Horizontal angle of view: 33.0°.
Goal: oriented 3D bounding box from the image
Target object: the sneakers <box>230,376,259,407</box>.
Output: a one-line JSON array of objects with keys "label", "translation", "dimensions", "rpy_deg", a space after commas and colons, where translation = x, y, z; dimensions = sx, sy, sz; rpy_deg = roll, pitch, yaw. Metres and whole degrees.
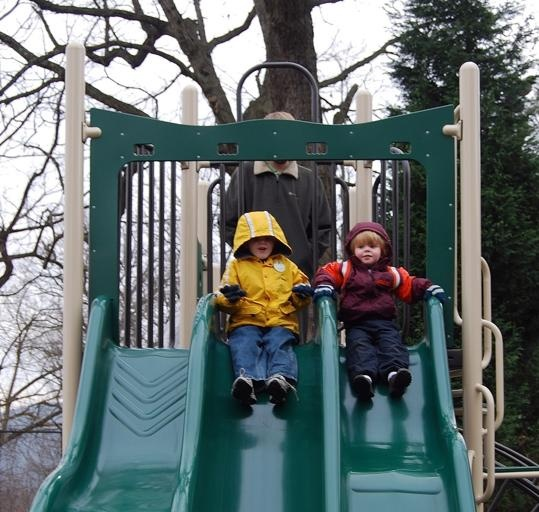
[{"label": "sneakers", "translation": [-0.150, 0.786, 5.264], "dimensions": [0.089, 0.216, 0.131], "rpy_deg": [-13, 28, -2]}]

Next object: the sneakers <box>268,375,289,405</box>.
[{"label": "sneakers", "translation": [0.046, 0.777, 5.345], "dimensions": [0.088, 0.187, 0.077], "rpy_deg": [5, 11, 9]}]

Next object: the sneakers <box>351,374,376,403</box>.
[{"label": "sneakers", "translation": [0.552, 0.783, 5.406], "dimensions": [0.142, 0.162, 0.165], "rpy_deg": [-1, -2, 5]}]

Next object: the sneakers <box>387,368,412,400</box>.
[{"label": "sneakers", "translation": [0.745, 0.732, 5.349], "dimensions": [0.087, 0.229, 0.154], "rpy_deg": [1, 19, -13]}]

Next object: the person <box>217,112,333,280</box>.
[{"label": "person", "translation": [0.078, -0.331, 6.839], "dimensions": [0.742, 1.443, 0.451], "rpy_deg": [1, -22, -12]}]

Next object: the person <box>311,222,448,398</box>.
[{"label": "person", "translation": [0.671, 0.362, 5.697], "dimensions": [0.630, 0.468, 1.135], "rpy_deg": [-2, 47, -1]}]

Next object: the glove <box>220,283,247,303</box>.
[{"label": "glove", "translation": [-0.227, 0.224, 5.567], "dimensions": [0.116, 0.111, 0.055], "rpy_deg": [6, -4, -21]}]

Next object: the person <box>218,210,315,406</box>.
[{"label": "person", "translation": [-0.041, 0.287, 5.673], "dimensions": [0.488, 0.745, 1.173], "rpy_deg": [1, 36, -1]}]
